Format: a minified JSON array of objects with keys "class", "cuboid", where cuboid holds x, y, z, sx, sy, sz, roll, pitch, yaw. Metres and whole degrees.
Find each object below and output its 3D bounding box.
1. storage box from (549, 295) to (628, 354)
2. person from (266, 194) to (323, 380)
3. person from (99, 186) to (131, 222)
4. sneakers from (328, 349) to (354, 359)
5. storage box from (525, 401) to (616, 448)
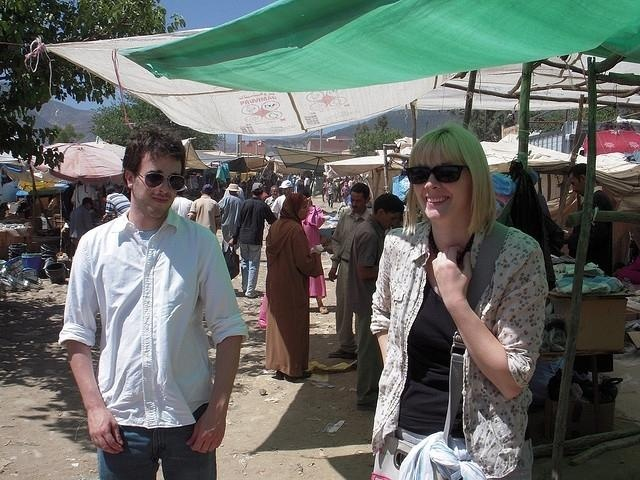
[{"class":"storage box","cuboid":[2.291,0.723,4.199,0.659,0.468,0.649,-3,-3,28]},{"class":"person","cuboid":[-0.412,0.617,6.461,0.800,2.464,0.663,-4,8,-11]},{"class":"person","cuboid":[-4.616,-0.785,10.704,0.424,0.599,1.017,-19,-33,-27]},{"class":"sneakers","cuboid":[0.303,1.718,7.140,0.385,0.148,0.138,7,-18,0]},{"class":"storage box","cuboid":[2.606,1.783,4.751,0.675,0.361,0.652,-21,-30,36]}]
